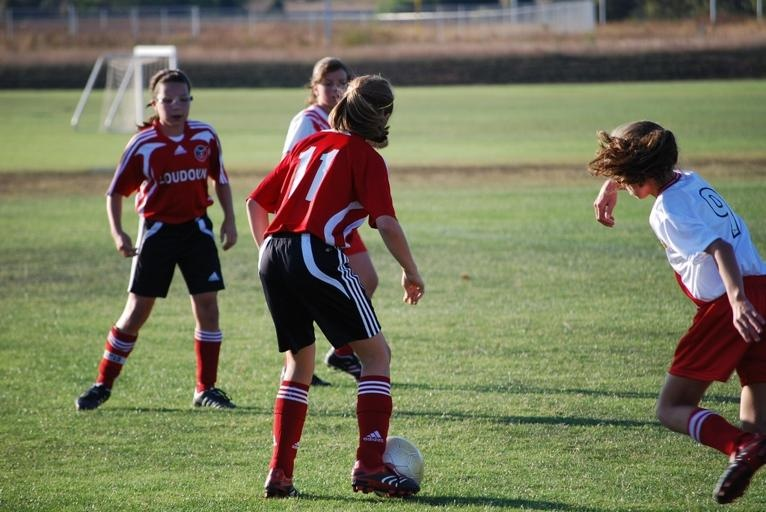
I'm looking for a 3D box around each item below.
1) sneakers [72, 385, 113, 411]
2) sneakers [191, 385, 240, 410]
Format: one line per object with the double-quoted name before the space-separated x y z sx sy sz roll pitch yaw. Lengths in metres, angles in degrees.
"sneakers" -3.599 1.785 19.635 0.191 0.203 0.524 44 43 5
"sneakers" -2.103 1.819 19.614 0.464 0.214 0.250 1 -2 12
